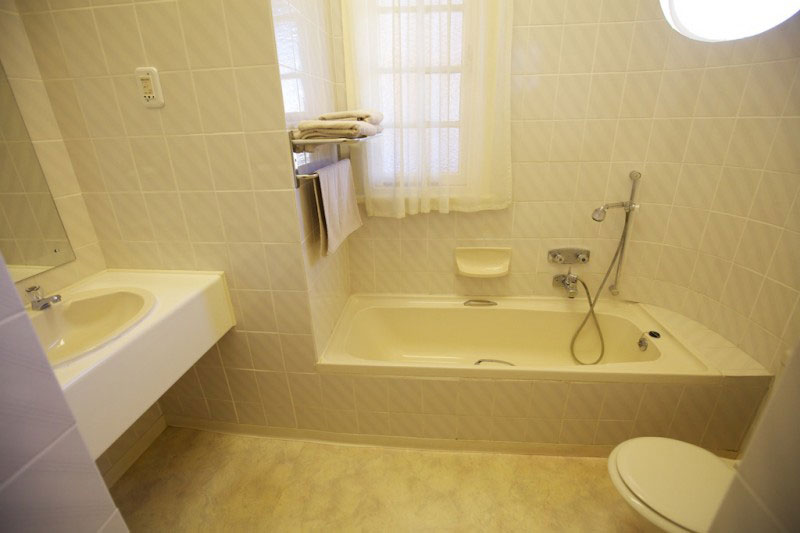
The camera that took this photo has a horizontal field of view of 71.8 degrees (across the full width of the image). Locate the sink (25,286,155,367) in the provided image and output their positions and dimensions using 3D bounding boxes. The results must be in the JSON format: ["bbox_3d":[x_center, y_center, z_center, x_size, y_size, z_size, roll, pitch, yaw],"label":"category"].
[{"bbox_3d":[-1.511,0.284,2.705,0.514,0.218,0.677,7,15,11],"label":"sink"}]

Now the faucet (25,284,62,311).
[{"bbox_3d":[-1.741,0.148,2.679,0.178,0.127,0.086,3,15,-6],"label":"faucet"}]

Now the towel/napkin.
[{"bbox_3d":[-0.360,-0.514,3.139,0.289,0.558,0.734,3,27,6],"label":"towel/napkin"}]
